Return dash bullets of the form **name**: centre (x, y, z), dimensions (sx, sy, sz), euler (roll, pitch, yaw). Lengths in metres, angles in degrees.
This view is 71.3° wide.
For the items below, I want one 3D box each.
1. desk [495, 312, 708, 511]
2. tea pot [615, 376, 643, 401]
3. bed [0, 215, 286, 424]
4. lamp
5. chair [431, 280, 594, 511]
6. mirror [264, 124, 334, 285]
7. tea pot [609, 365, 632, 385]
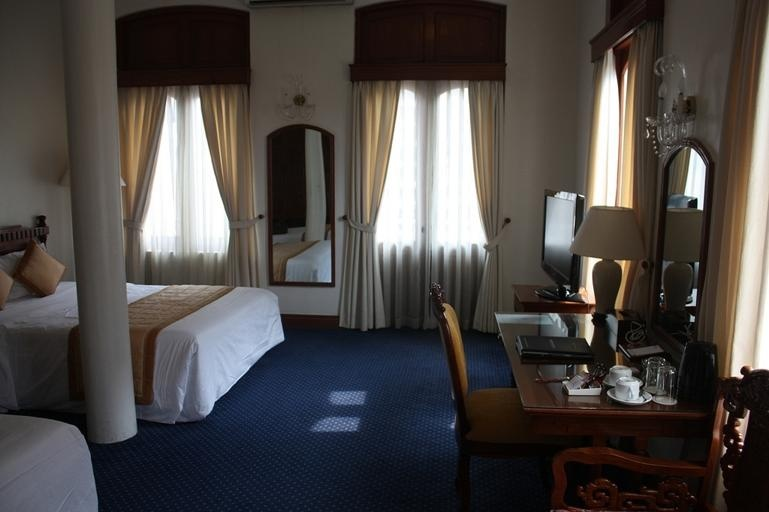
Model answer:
- **desk**: centre (1.097, 0.839, 3.061), dimensions (0.513, 0.250, 1.002), euler (-3, 28, -1)
- **tea pot**: centre (1.345, 0.736, 2.972), dimensions (0.085, 0.098, 0.151), euler (2, 8, 16)
- **bed**: centre (-2.257, 0.691, 4.758), dimensions (1.908, 1.093, 1.591), euler (0, 17, -4)
- **lamp**: centre (1.642, 0.026, 3.963), dimensions (0.495, 0.796, 0.317), euler (1, 7, 20)
- **chair**: centre (0.716, 0.830, 4.302), dimensions (1.218, 2.181, 1.212), euler (-3, 5, 3)
- **mirror**: centre (-1.105, -0.895, 6.492), dimensions (0.734, 0.064, 1.762), euler (-12, -31, -23)
- **tea pot**: centre (1.349, 0.658, 3.064), dimensions (0.104, 0.109, 0.109), euler (-1, 7, 0)
